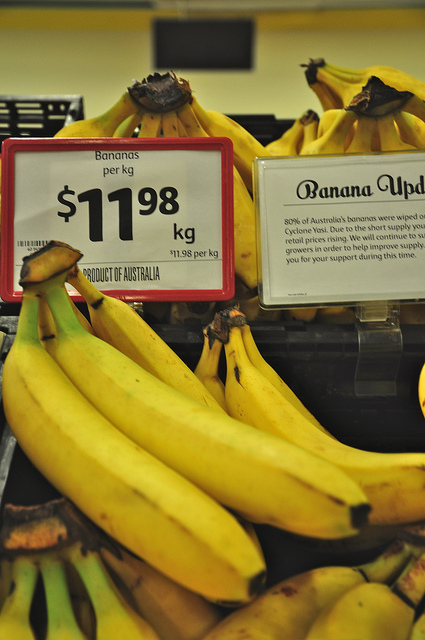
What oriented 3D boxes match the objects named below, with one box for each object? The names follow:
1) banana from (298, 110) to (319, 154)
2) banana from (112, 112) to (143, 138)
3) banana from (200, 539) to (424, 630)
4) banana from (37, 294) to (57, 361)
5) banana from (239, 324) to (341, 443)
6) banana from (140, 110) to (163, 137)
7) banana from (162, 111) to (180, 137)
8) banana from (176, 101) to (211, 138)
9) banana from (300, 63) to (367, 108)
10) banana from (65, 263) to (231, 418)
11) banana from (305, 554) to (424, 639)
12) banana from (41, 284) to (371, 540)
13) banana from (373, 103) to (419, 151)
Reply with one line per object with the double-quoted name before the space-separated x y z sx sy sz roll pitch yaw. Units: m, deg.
"banana" 0.204 -0.384 1.230 0.028 0.092 0.032 14 -13 -32
"banana" -0.127 -0.288 0.883 0.040 0.040 0.063 -2 7 -10
"banana" 0.102 0.248 0.534 0.215 0.063 0.050 -3 7 -13
"banana" -0.169 0.008 0.632 0.020 0.069 0.025 -6 -1 -7
"banana" 0.085 0.074 0.644 0.047 0.138 0.026 -48 -5 37
"banana" -0.086 -0.273 0.832 0.033 0.042 0.062 -2 7 -6
"banana" -0.059 -0.276 0.837 0.019 0.033 0.009 0 6 3
"banana" -0.024 -0.285 0.852 0.029 0.044 0.069 4 9 37
"banana" 0.238 -0.499 1.285 0.060 0.063 0.237 23 17 29
"banana" -0.071 0.023 0.642 0.042 0.204 0.033 -47 0 -24
"banana" 0.147 0.257 0.532 0.128 0.056 0.034 -4 8 -19
"banana" -0.024 0.079 0.575 0.369 0.164 0.074 24 35 24
"banana" 0.243 -0.254 0.790 0.055 0.067 0.104 1 8 19
